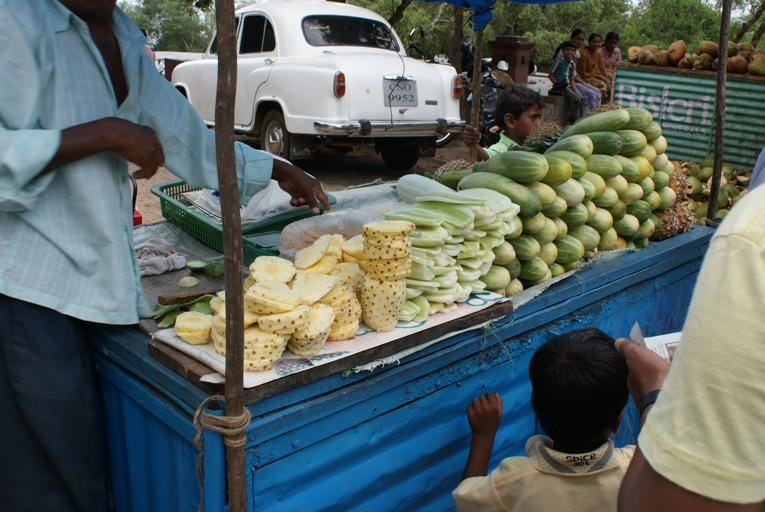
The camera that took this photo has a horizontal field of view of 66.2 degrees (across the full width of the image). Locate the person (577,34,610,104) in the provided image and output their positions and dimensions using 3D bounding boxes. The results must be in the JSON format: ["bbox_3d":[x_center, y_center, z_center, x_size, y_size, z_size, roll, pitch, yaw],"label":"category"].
[{"bbox_3d":[4.818,-4.340,13.434,0.651,1.747,0.616,-6,-9,9],"label":"person"}]
